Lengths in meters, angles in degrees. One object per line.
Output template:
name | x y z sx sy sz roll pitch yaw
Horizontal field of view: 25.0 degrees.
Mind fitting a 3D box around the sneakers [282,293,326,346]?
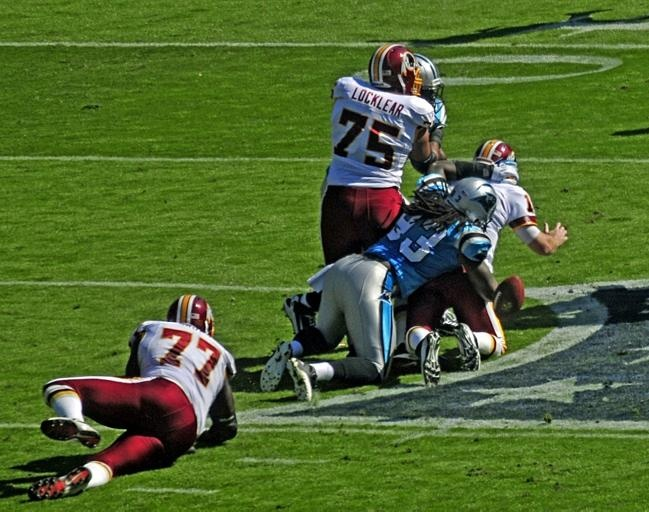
sneakers | -0.237 0.621 16.728 0.248 0.260 0.689 4 15 21

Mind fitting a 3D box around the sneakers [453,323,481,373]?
sneakers | 1.613 0.995 15.903 0.302 0.564 0.207 -15 13 12

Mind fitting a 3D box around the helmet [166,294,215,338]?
helmet | -1.413 0.677 15.017 0.489 0.492 0.599 4 -4 22

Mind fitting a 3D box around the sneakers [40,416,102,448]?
sneakers | -2.398 1.664 13.928 0.623 0.215 0.236 18 11 -14

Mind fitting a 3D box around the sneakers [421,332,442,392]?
sneakers | 1.152 1.114 15.489 0.216 0.536 0.242 2 -4 -37

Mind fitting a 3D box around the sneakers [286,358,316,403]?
sneakers | -0.251 1.321 15.535 0.290 0.448 0.250 3 9 1

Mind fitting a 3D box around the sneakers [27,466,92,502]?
sneakers | -2.465 2.148 13.729 0.595 0.215 0.241 -15 14 -16

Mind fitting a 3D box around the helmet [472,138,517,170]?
helmet | 2.064 -1.215 17.379 0.431 0.342 0.323 -22 30 1

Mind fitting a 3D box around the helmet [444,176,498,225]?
helmet | 1.615 -0.643 16.207 0.625 0.463 0.421 20 14 -16
